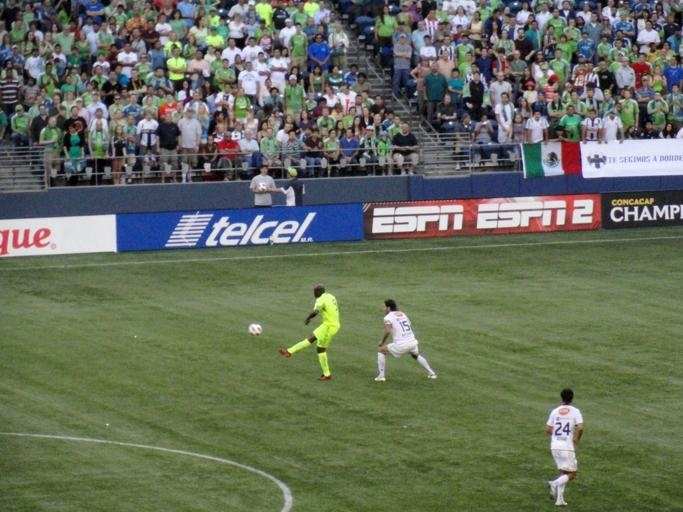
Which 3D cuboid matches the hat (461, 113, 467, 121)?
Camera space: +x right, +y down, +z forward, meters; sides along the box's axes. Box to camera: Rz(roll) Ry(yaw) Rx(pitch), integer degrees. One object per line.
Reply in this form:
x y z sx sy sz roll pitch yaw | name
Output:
4.217 -4.741 52.013 0.256 0.232 0.388 -4 4 9 | hat

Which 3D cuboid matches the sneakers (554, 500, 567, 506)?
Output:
4.603 5.176 31.970 0.264 0.126 0.086 -4 14 -15 | sneakers

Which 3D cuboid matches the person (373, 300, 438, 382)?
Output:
1.577 2.175 37.807 1.108 1.956 1.377 -23 29 -33 | person

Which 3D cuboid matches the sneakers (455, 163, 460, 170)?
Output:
3.972 -3.100 52.379 0.194 0.189 0.191 1 16 3 | sneakers

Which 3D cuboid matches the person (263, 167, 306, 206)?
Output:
-1.901 -2.250 49.541 0.659 1.273 0.956 20 26 37 | person

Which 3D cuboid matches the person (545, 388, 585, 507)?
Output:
4.666 4.012 31.871 0.785 2.460 0.528 -4 4 6 | person

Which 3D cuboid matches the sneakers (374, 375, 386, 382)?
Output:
0.921 2.938 36.664 0.265 0.113 0.113 5 6 31 | sneakers

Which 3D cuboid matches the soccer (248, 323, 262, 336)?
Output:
-2.139 1.838 38.195 0.309 0.235 0.319 5 5 39 | soccer

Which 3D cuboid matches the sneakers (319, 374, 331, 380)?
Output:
-0.397 2.916 36.736 0.182 0.069 0.141 2 7 10 | sneakers

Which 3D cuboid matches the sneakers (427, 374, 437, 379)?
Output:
2.171 2.883 36.702 0.178 0.074 0.095 -7 3 17 | sneakers

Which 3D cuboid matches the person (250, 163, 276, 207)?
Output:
-2.523 -2.247 48.725 0.782 1.385 1.662 -5 4 -3 | person

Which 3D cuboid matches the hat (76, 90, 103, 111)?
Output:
-8.121 -5.035 49.322 1.039 0.936 0.551 -1 -3 -2 | hat

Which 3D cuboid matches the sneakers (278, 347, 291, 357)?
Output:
-1.386 2.331 36.803 0.162 0.164 0.324 2 3 -15 | sneakers

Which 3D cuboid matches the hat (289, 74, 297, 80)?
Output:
-1.621 -5.997 51.021 0.196 0.115 0.304 0 8 -1 | hat

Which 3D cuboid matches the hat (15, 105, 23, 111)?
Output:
-10.307 -4.779 48.867 0.218 0.157 0.213 -2 -1 -21 | hat
